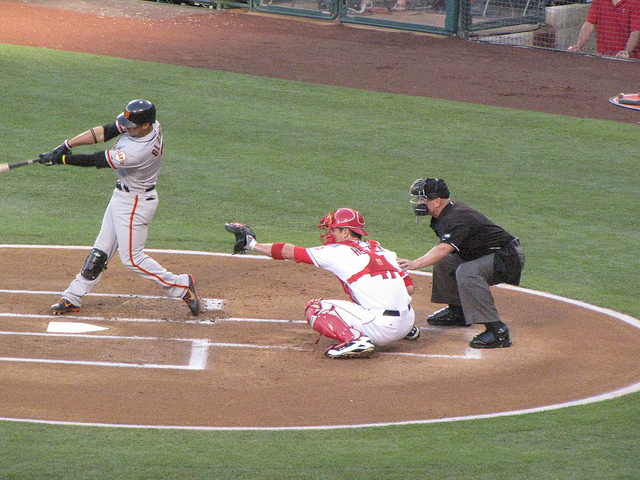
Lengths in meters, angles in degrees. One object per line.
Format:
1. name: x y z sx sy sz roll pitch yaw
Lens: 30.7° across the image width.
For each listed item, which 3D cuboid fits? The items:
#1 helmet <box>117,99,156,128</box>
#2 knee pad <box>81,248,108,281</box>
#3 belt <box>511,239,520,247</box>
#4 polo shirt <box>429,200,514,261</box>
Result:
1. helmet: -2.073 -1.438 13.015 0.500 0.200 0.358 -15 36 -30
2. knee pad: -2.616 0.277 13.463 0.338 0.359 0.129 32 -3 -12
3. belt: 2.237 0.048 13.250 0.095 0.070 0.023 6 -17 -1
4. polo shirt: 1.693 -0.104 13.169 0.889 0.287 0.809 10 8 4
